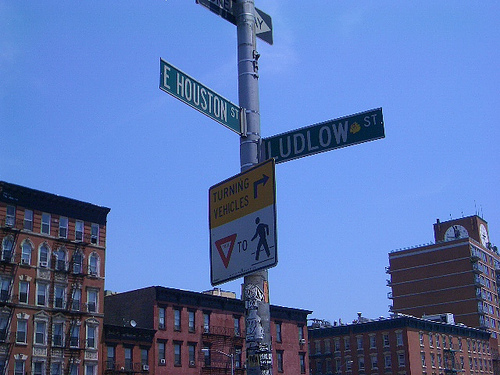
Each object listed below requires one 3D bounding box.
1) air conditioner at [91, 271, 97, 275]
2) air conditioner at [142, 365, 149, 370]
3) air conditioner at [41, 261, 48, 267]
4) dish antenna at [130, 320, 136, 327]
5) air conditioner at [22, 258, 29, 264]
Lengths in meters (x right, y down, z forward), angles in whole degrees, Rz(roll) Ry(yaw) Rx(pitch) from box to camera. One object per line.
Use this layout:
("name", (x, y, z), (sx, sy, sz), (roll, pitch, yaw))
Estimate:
("air conditioner", (-17.624, 9.650, 94.192), (0.524, 0.401, 0.294), (-12, -21, 40))
("air conditioner", (-11.916, 20.382, 95.311), (0.675, 0.537, 0.400), (2, -11, -8))
("air conditioner", (-22.317, 8.280, 90.735), (0.721, 0.728, 0.420), (0, -3, -16))
("dish antenna", (-13.389, 15.612, 96.033), (0.457, 0.548, 0.915), (6, -9, 8))
("air conditioner", (-23.943, 7.867, 89.445), (0.684, 0.809, 0.412), (-2, -9, 4))
